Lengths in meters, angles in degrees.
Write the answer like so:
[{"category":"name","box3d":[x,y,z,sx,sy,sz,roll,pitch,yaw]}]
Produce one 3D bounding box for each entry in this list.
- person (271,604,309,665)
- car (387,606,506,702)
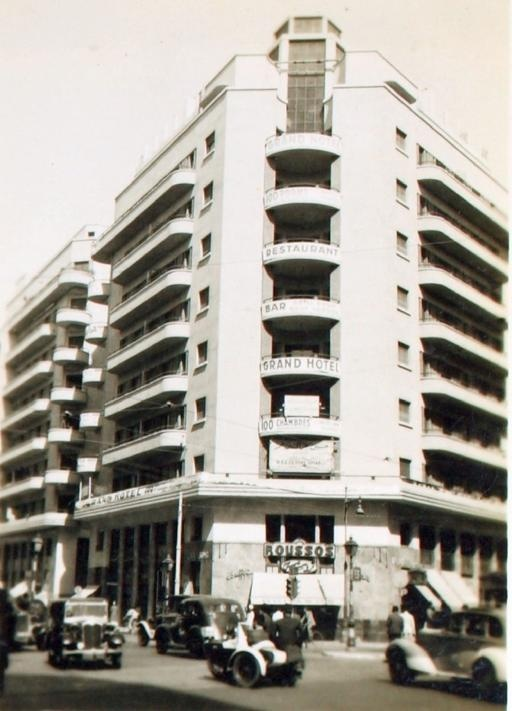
[{"category":"person","box3d":[0.432,3.663,12.203,0.388,0.862,0.307,-2,24,-1]},{"category":"car","box3d":[2.599,4.047,12.940,1.534,0.790,0.937,-6,-21,34]}]
